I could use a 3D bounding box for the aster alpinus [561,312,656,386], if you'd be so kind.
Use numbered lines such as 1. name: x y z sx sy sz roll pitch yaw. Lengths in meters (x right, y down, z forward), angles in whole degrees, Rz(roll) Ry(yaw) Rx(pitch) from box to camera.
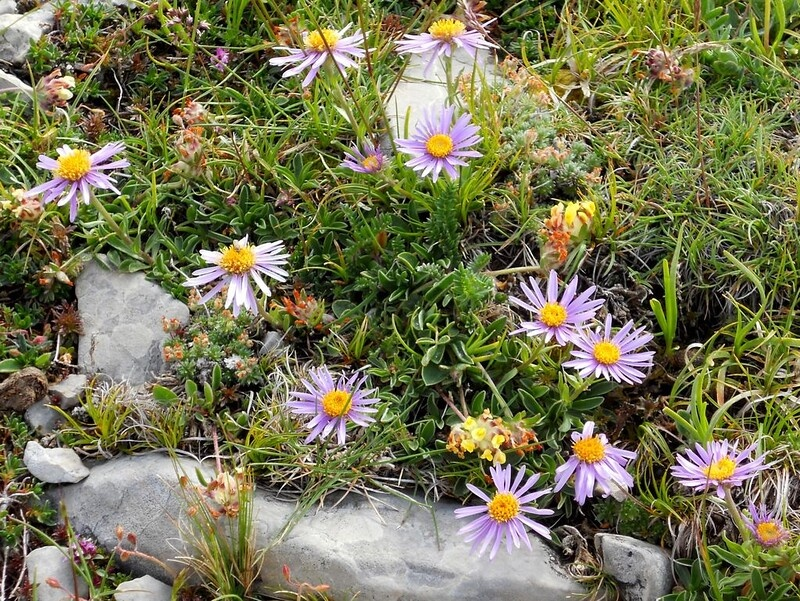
1. aster alpinus: 0.896 0.240 3.358 0.317 0.095 0.348 28 80 24

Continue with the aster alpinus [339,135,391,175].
1. aster alpinus: -0.189 -0.694 3.835 0.186 0.092 0.211 17 44 14

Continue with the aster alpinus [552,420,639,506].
1. aster alpinus: 0.833 0.664 3.293 0.351 0.352 0.135 -23 95 16

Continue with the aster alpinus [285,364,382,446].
1. aster alpinus: -0.273 0.453 3.344 0.387 0.117 0.434 -16 30 -22

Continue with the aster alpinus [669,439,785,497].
1. aster alpinus: 1.309 0.674 3.198 0.292 0.309 0.165 -25 102 -18

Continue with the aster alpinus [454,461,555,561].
1. aster alpinus: 0.456 0.848 3.242 0.467 0.115 0.487 -25 14 -32

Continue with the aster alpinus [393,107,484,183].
1. aster alpinus: 0.182 -0.741 3.628 0.368 0.384 0.144 17 67 -35

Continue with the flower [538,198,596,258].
1. flower: 0.780 -0.383 3.652 0.172 0.236 0.276 34 31 -8

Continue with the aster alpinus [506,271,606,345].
1. aster alpinus: 0.655 0.034 3.313 0.377 0.148 0.406 10 29 26

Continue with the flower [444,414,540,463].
1. flower: 0.390 0.573 3.304 0.287 0.152 0.252 5 70 8

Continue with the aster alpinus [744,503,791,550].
1. aster alpinus: 1.494 0.884 3.170 0.171 0.084 0.173 23 40 39
